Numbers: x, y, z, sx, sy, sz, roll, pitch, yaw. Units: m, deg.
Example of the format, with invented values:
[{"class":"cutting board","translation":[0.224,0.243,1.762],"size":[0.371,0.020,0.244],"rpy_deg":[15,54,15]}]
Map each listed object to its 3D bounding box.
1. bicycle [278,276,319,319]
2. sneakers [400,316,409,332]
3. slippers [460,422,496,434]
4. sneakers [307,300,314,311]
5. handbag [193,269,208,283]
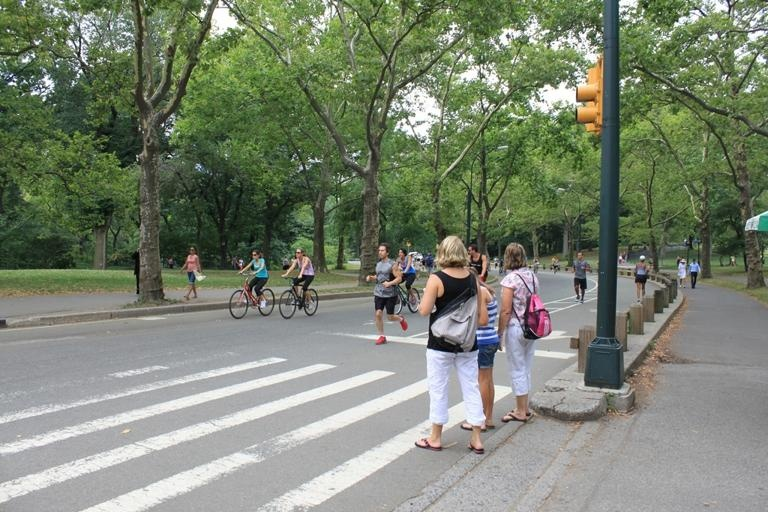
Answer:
[{"class":"bicycle","translation":[-3.150,1.581,25.245],"size":[0.761,1.022,1.619],"rpy_deg":[-3,-6,33]},{"class":"sneakers","translation":[0.540,2.015,21.985],"size":[0.201,0.508,0.172],"rpy_deg":[4,-42,-44]},{"class":"slippers","translation":[2.031,3.678,15.587],"size":[0.255,0.189,0.674],"rpy_deg":[0,0,-25]},{"class":"sneakers","translation":[-2.554,1.696,25.314],"size":[0.135,0.186,0.404],"rpy_deg":[-13,16,10]},{"class":"handbag","translation":[-8.219,0.863,32.419],"size":[0.537,0.319,0.706],"rpy_deg":[-19,-6,-22]}]
